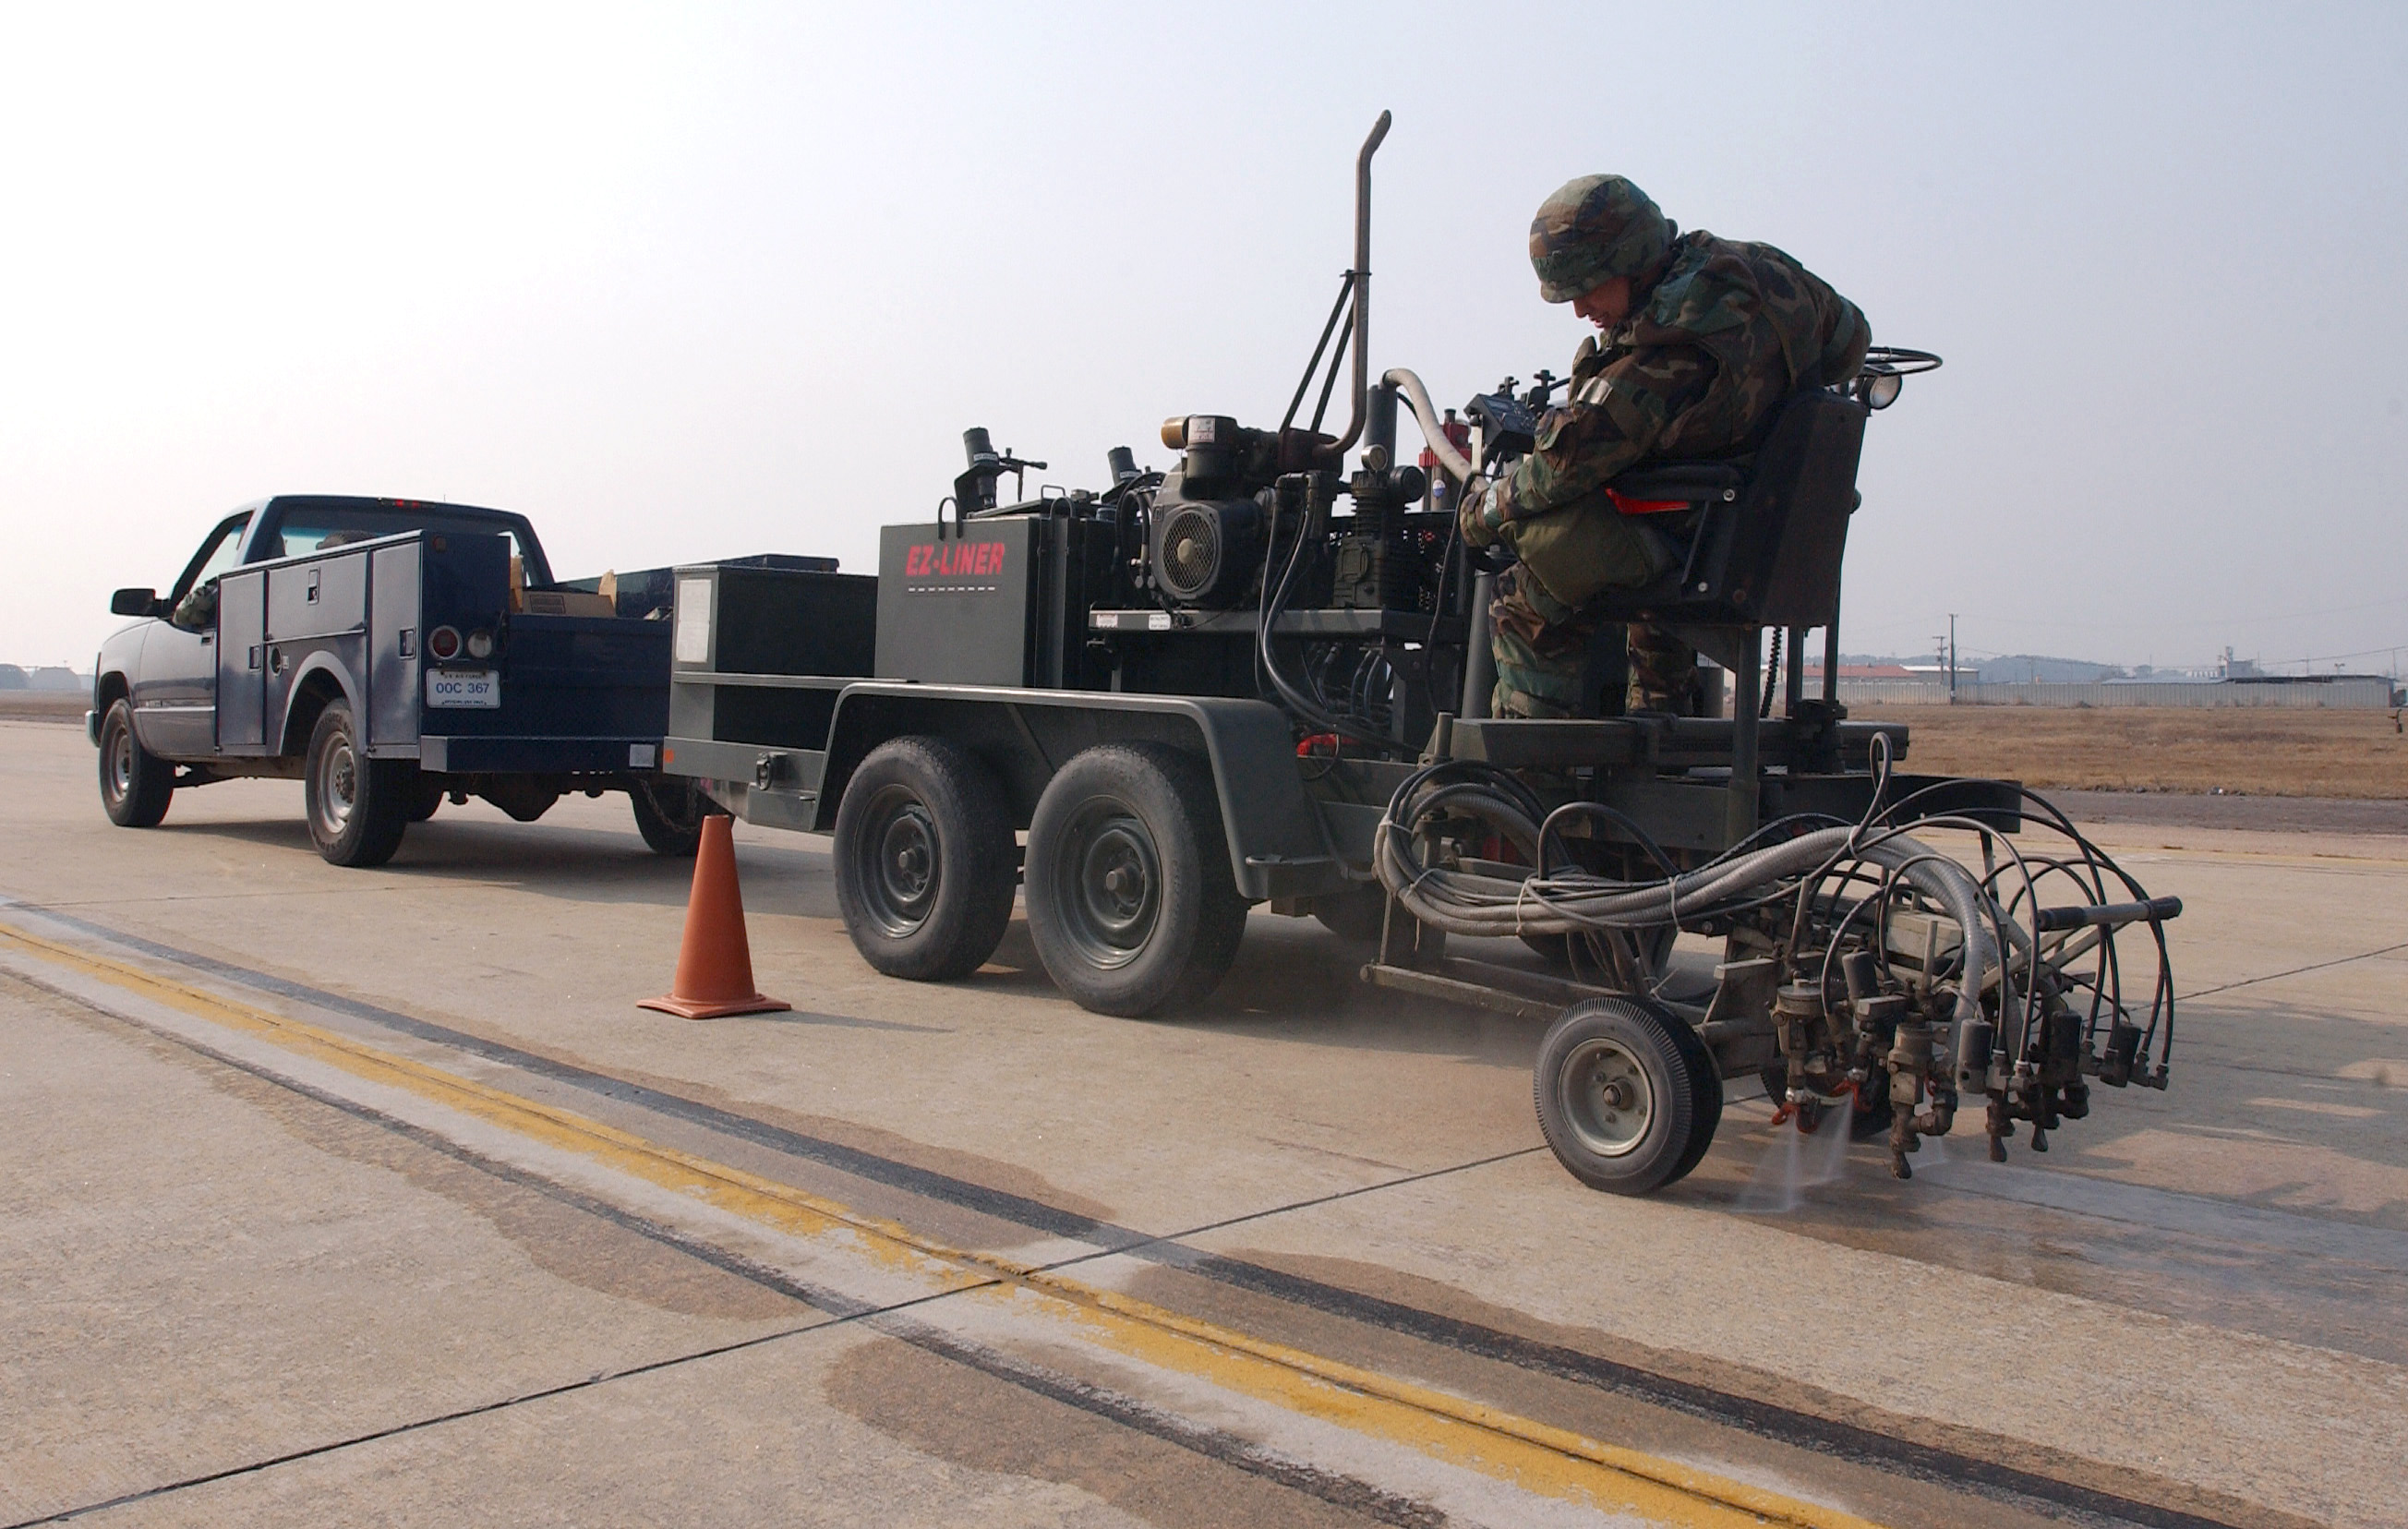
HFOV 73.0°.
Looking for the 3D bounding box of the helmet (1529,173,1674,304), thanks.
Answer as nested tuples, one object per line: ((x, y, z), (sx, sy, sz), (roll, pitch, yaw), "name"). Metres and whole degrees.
((1.460, -1.893, 5.945), (0.635, 0.477, 0.479), (-16, 23, -30), "helmet")

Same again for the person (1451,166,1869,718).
((1.656, -1.014, 5.756), (1.063, 1.685, 1.231), (10, 33, 24), "person")

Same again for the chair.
((1.937, -0.837, 6.226), (0.961, 1.131, 0.933), (10, 7, 44), "chair")
